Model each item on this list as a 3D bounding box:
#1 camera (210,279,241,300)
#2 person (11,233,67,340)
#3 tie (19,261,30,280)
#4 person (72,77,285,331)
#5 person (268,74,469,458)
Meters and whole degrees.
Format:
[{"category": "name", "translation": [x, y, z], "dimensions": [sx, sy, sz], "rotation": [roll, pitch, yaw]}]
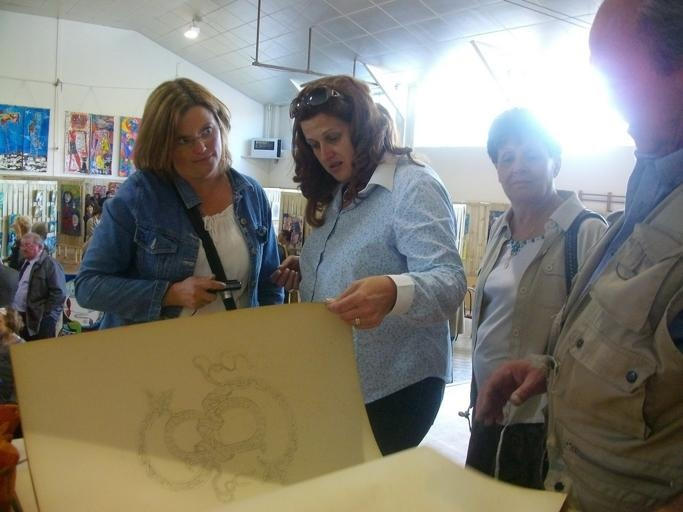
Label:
[{"category": "camera", "translation": [-0.408, 0.115, 1.685], "dimensions": [0.127, 0.068, 0.032], "rotation": [-7, 36, 5]}, {"category": "person", "translation": [-3.236, 0.331, 5.183], "dimensions": [0.493, 1.111, 0.529], "rotation": [1, 8, -10]}, {"category": "tie", "translation": [-3.474, 0.166, 5.294], "dimensions": [0.059, 0.079, 0.280], "rotation": [3, 29, -12]}, {"category": "person", "translation": [-0.594, -0.191, 1.836], "dimensions": [0.655, 0.942, 0.543], "rotation": [3, 8, 7]}, {"category": "person", "translation": [0.116, 0.006, 1.685], "dimensions": [0.527, 1.255, 0.803], "rotation": [-1, 8, -21]}]
